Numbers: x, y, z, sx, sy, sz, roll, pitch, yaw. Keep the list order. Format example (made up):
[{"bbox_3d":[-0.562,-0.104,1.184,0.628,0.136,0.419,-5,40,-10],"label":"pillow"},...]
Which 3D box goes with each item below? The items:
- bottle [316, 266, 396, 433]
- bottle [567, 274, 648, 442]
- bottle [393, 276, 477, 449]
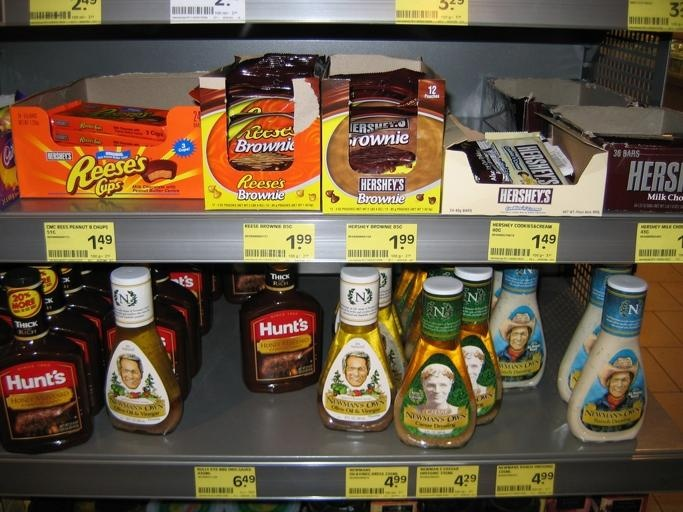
[{"bbox_3d":[0.038,0.215,1.202,0.177,0.363,0.096,1,14,0],"label":"bottle"},{"bbox_3d":[0.608,0.231,1.171,0.200,0.382,0.094,-9,21,-14],"label":"bottle"},{"bbox_3d":[0.201,0.241,1.160,0.179,0.375,0.121,-9,21,-15],"label":"bottle"}]
